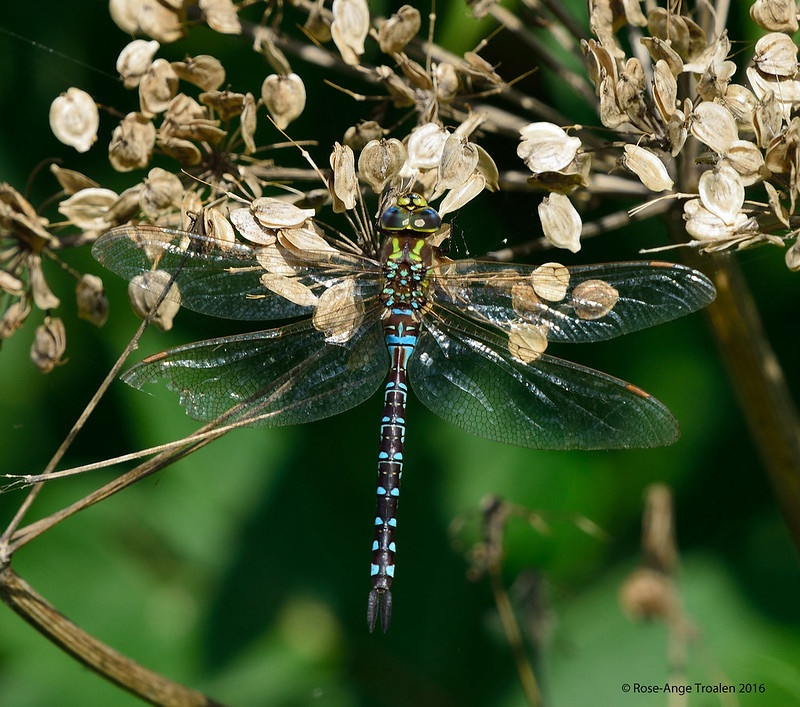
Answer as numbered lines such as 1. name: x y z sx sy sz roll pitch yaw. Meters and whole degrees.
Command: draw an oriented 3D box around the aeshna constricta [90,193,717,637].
1. aeshna constricta: 0.007 0.087 1.310 0.640 0.545 0.160 4 5 -1
